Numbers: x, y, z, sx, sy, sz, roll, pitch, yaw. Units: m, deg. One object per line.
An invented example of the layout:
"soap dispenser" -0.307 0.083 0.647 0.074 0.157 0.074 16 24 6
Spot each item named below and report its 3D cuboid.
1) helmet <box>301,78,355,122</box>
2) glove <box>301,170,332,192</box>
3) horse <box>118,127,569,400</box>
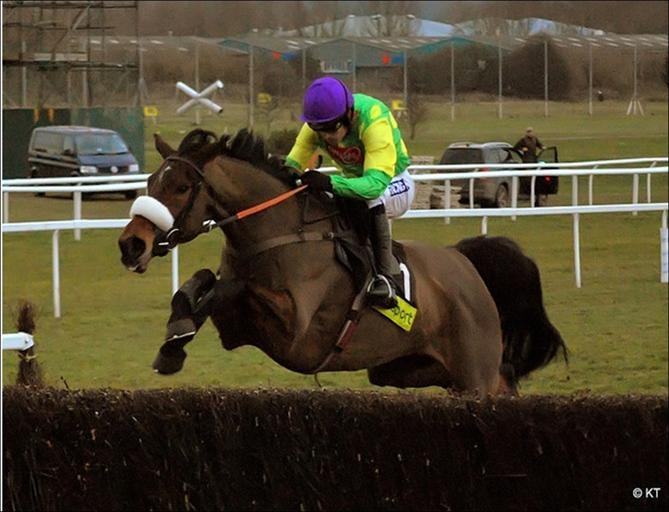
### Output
"helmet" -0.043 -0.983 9.964 0.326 0.291 0.152 -2 7 -2
"glove" -0.111 -0.475 9.937 0.202 0.136 0.087 -1 8 5
"horse" 0.175 0.318 10.422 3.382 1.915 0.859 7 -8 -33
